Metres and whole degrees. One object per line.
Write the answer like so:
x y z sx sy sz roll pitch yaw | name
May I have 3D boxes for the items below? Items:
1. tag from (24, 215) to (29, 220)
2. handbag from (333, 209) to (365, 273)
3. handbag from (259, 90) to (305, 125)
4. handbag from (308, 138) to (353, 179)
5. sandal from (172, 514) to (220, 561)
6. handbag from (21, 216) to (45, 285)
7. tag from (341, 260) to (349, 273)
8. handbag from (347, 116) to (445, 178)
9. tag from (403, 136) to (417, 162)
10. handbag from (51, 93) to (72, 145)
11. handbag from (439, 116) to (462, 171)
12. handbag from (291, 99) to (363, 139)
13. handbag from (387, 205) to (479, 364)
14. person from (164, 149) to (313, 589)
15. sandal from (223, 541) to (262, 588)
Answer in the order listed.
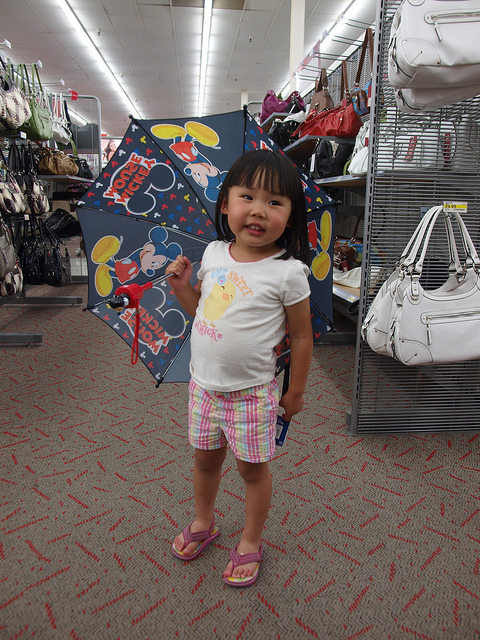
-1.725 -0.841 3.609 0.052 0.047 0.033 0 8 -27 | tag
0.825 -0.602 3.356 0.295 0.475 0.163 -18 40 -14 | handbag
0.366 -2.055 4.363 0.408 0.288 0.300 0 1 41 | handbag
0.613 -1.093 3.030 0.281 0.248 0.142 -9 38 -19 | handbag
-0.122 0.604 1.262 0.084 0.056 0.170 14 15 34 | sandal
-1.994 -0.656 4.272 0.200 0.652 0.379 -5 13 -26 | handbag
0.775 -0.410 3.310 0.052 0.078 0.078 6 13 24 | tag
0.669 -0.714 1.971 0.327 0.306 0.077 5 -3 2 | handbag
0.687 -0.697 1.786 0.051 0.082 0.017 -4 13 -21 | tag
-2.005 -2.303 4.985 0.187 0.515 0.537 -3 13 -19 | handbag
0.846 -0.698 1.815 0.069 0.147 0.158 3 -3 16 | handbag
0.621 -1.315 3.000 0.302 0.119 0.346 -8 21 -25 | handbag
0.749 -0.098 1.706 0.309 0.667 0.527 5 13 19 | handbag
-0.001 0.117 1.167 0.385 1.079 0.364 -2 12 -12 | person
0.013 0.635 1.195 0.081 0.053 0.212 0 -1 12 | sandal
